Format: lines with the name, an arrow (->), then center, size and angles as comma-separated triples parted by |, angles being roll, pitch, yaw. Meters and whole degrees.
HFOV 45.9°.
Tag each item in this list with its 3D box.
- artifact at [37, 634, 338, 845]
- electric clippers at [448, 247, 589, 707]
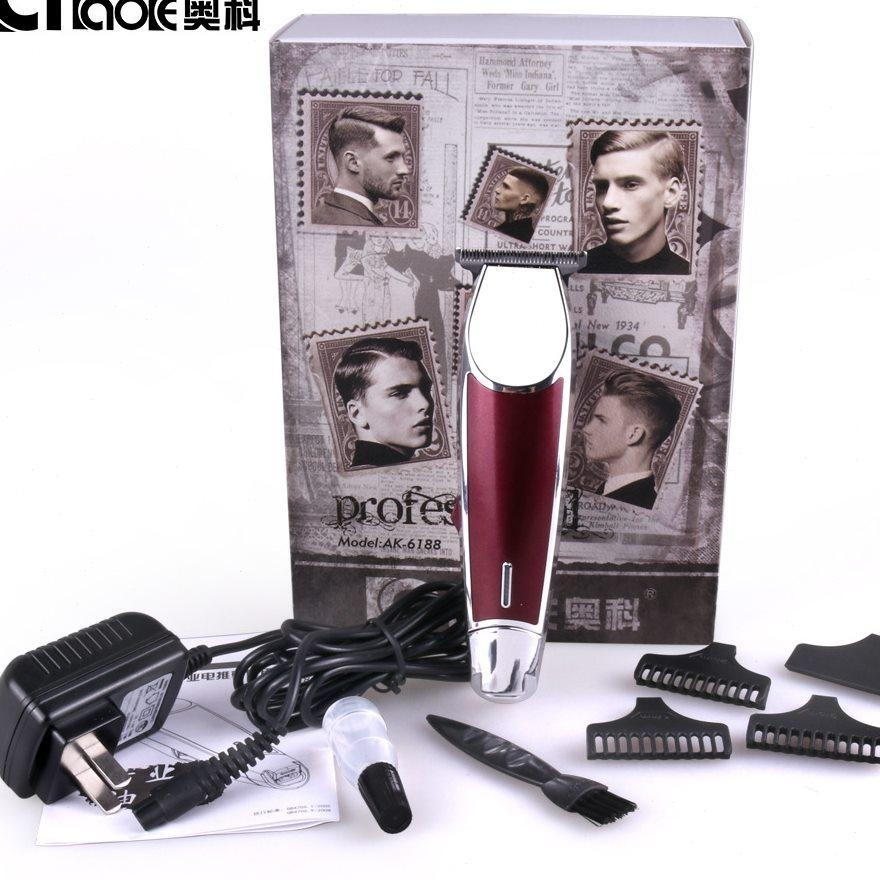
artifact -> -0.151, 0.179, 0.653 | 0.164, 0.031, 0.204 | -1, 15, -9
electric clippers -> 0.041, 0.019, 0.631 | 0.074, 0.256, 0.110 | 4, 17, 6
